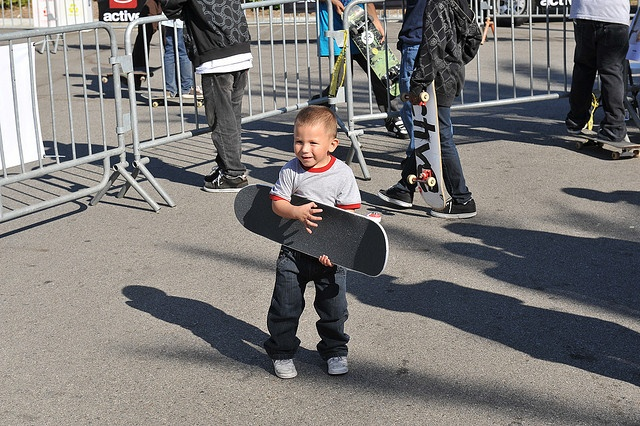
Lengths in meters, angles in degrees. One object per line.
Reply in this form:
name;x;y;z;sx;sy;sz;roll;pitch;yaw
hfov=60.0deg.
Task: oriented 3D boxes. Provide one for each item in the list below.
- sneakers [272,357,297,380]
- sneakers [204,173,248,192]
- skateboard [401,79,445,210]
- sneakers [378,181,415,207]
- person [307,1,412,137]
sneakers;-0.229;0.958;3.460;0.076;0.074;0.192;-10;14;-31
sneakers;-1.005;-0.326;5.912;0.551;0.223;0.197;3;16;1
skateboard;1.011;-0.636;5.208;0.181;1.181;0.297;-15;9;-43
sneakers;0.761;-0.214;5.689;0.393;0.219;0.167;23;24;38
person;0.664;-1.981;7.171;0.750;2.689;0.394;-11;-1;-37
